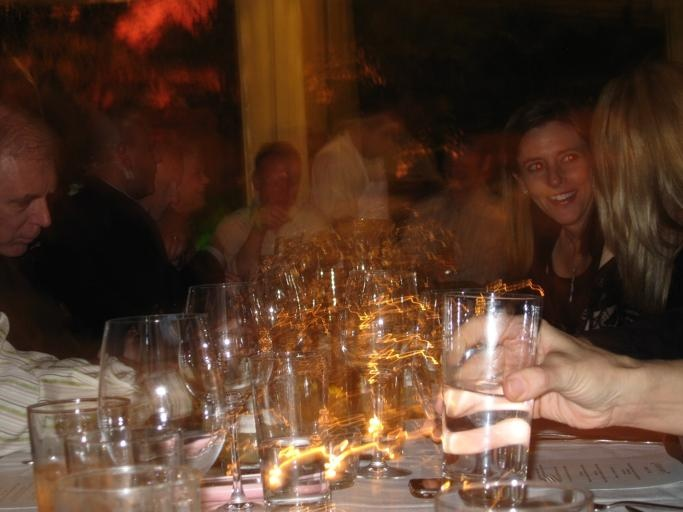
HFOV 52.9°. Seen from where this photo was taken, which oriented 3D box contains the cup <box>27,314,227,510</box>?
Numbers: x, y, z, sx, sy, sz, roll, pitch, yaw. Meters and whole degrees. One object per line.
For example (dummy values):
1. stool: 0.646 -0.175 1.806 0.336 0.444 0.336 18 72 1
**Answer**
1. cup: -0.293 0.215 1.116 0.280 0.303 0.288 0 -3 0
